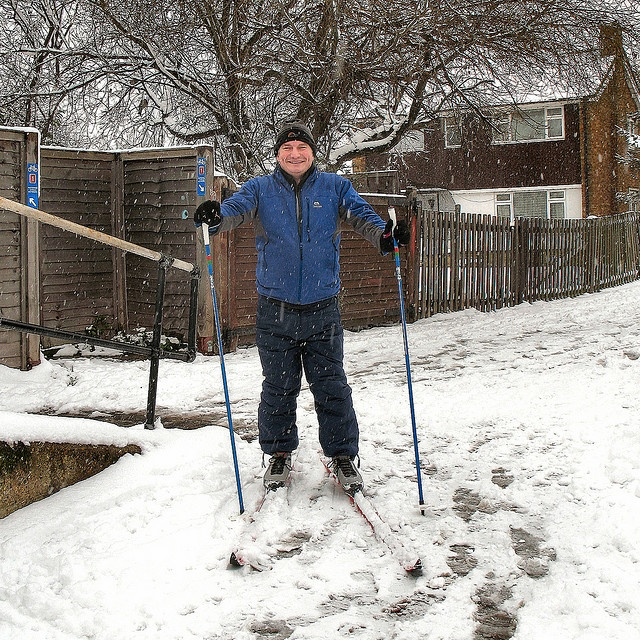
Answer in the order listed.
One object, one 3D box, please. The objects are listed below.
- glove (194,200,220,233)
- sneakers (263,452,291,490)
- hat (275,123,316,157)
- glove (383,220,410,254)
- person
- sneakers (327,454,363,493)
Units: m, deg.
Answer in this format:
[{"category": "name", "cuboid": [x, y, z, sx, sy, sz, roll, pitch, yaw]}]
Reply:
[{"category": "glove", "cuboid": [-0.577, -0.553, 4.059, 0.105, 0.186, 0.063, 18, 9, -3]}, {"category": "sneakers", "cuboid": [-0.233, 0.825, 4.276, 0.081, 0.101, 0.228, 0, 15, 1]}, {"category": "hat", "cuboid": [-0.141, -0.998, 4.260, 0.150, 0.176, 0.178, 3, -20, -5]}, {"category": "glove", "cuboid": [0.393, -0.439, 4.116, 0.156, 0.194, 0.210, -1, 15, 5]}, {"category": "person", "cuboid": [-0.105, -0.084, 4.201, 0.871, 1.897, 0.515, -1, 13, 5]}, {"category": "sneakers", "cuboid": [0.137, 0.825, 4.258, 0.111, 0.197, 0.379, -2, 9, -17]}]
